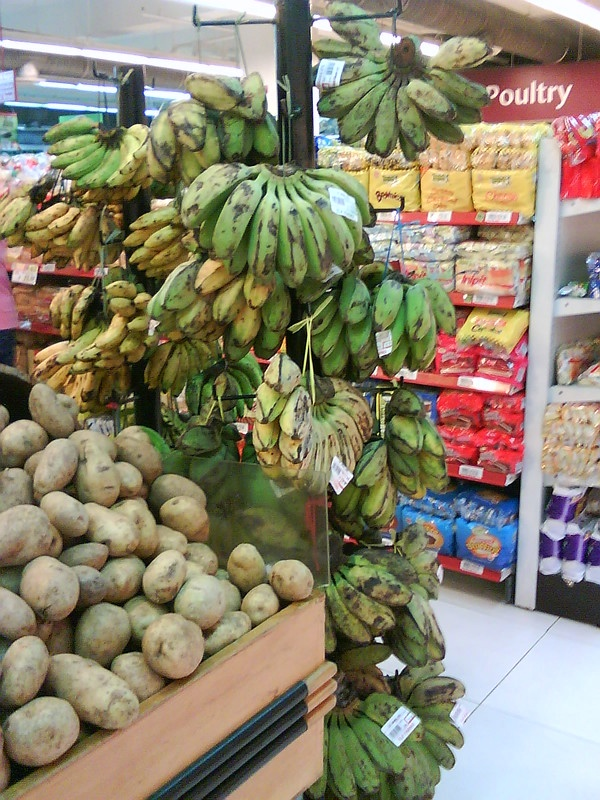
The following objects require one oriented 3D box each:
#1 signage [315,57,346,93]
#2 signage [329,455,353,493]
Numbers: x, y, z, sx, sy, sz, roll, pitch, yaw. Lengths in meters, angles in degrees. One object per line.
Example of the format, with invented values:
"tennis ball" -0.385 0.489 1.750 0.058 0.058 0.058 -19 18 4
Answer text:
"signage" 0.068 -0.669 1.274 0.061 0.062 0.017 24 -9 12
"signage" 0.084 0.153 1.183 0.017 0.063 0.065 0 48 21
